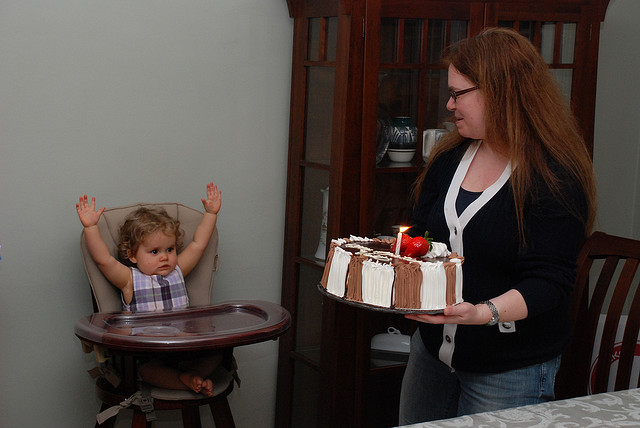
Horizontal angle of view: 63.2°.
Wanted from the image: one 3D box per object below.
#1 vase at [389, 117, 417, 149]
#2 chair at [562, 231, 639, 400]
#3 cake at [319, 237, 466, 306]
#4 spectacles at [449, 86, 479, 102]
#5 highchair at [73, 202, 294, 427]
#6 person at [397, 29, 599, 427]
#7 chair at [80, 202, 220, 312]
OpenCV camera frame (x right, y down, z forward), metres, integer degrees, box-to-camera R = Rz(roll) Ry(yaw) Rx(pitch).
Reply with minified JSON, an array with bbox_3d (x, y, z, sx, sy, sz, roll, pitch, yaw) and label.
[{"bbox_3d":[0.405,-0.388,2.540,0.145,0.139,0.137,3,3,40],"label":"vase"},{"bbox_3d":[1.103,0.440,2.049,0.256,0.665,0.425,1,15,25],"label":"chair"},{"bbox_3d":[0.235,0.190,1.712,0.305,0.104,0.277,5,3,33],"label":"cake"},{"bbox_3d":[0.486,-0.404,1.768,0.039,0.047,0.105,-15,17,-38],"label":"spectacles"},{"bbox_3d":[-0.621,0.359,2.319,0.958,1.159,1.021,-1,5,-25],"label":"highchair"},{"bbox_3d":[0.561,0.124,1.766,0.654,1.444,0.581,2,15,28],"label":"person"},{"bbox_3d":[-0.734,0.098,2.440,0.559,0.649,0.471,-2,5,-19],"label":"chair"}]
